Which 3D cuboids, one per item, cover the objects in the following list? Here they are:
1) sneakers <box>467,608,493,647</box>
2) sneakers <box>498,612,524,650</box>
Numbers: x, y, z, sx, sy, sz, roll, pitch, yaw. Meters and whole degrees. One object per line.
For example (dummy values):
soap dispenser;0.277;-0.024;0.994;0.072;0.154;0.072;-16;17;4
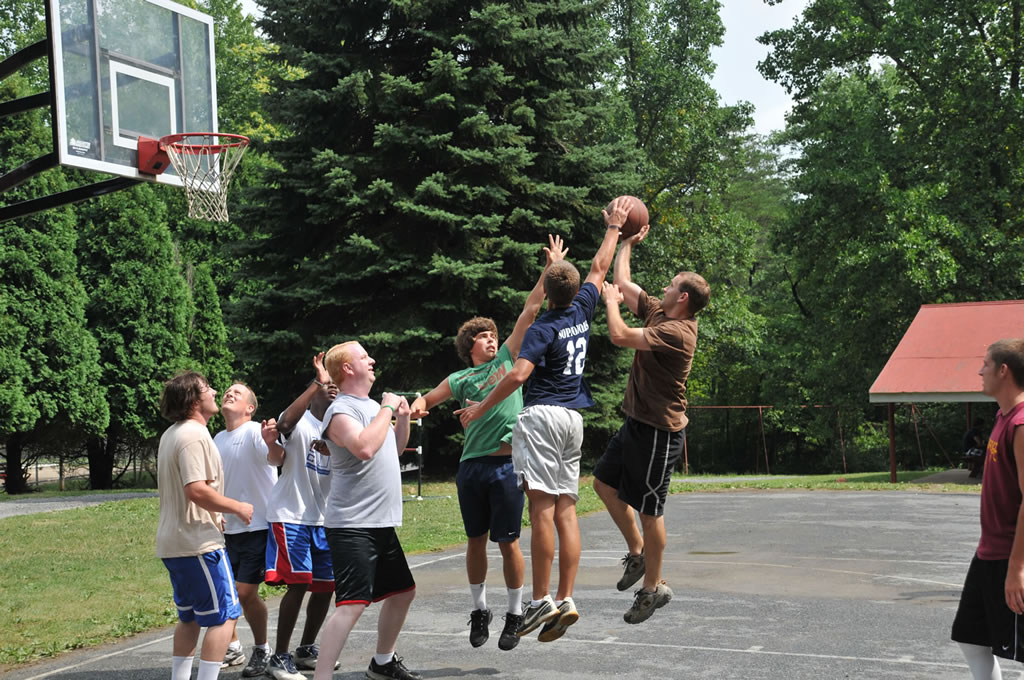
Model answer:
sneakers;-0.412;3.799;14.011;0.221;0.580;0.258;-6;-26;20
sneakers;-0.012;3.775;13.694;0.205;0.597;0.240;3;-34;6
